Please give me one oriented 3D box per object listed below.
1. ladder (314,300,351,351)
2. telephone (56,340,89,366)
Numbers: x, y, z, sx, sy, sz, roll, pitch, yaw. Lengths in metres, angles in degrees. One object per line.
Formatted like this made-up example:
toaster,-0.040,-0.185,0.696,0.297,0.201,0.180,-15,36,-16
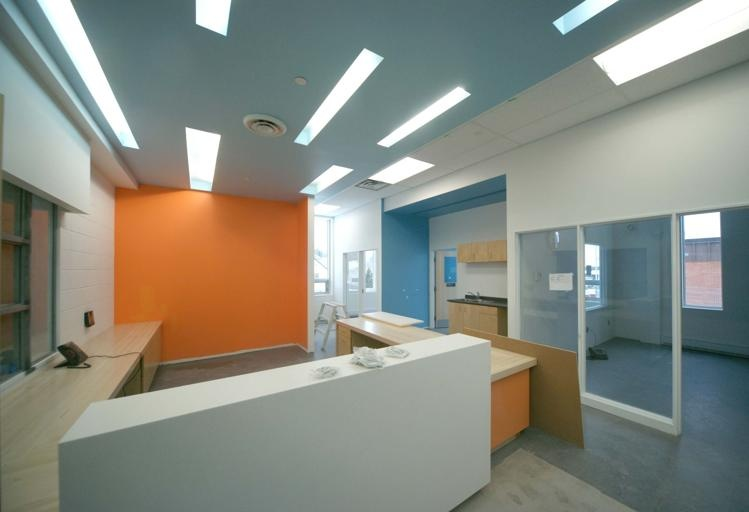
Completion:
ladder,-0.838,1.371,9.441,0.801,0.806,0.920,1,-1,-26
telephone,-3.344,1.092,5.160,0.241,0.293,0.295,-7,11,-29
